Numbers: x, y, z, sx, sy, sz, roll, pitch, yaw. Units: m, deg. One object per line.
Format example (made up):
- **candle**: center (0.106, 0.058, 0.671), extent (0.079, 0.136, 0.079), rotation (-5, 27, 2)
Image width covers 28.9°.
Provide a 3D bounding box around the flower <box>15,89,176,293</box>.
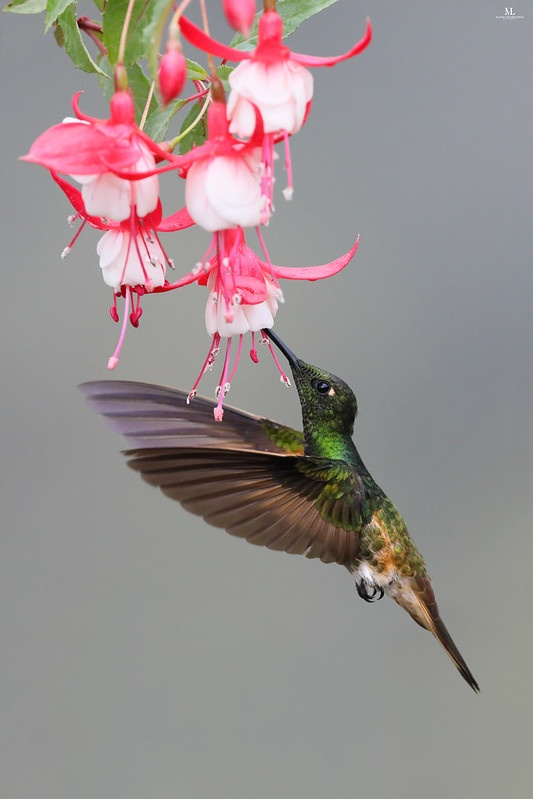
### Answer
- **flower**: center (-0.102, -0.137, 0.700), extent (0.080, 0.112, 0.135), rotation (-13, -51, 1)
